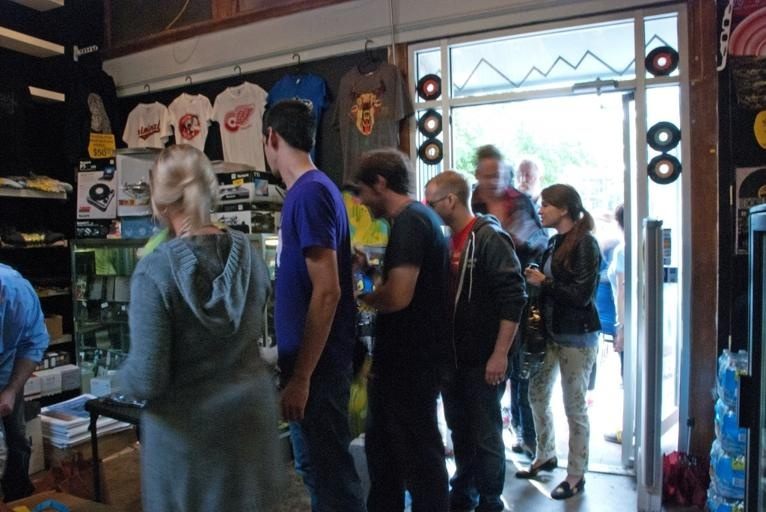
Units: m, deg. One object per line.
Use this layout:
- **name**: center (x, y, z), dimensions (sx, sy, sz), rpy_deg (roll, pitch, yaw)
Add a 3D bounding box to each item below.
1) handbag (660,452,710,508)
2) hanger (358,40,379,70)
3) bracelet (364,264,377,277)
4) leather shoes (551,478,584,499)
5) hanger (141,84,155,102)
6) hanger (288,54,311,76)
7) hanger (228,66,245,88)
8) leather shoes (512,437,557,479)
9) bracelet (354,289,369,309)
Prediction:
- **handbag**: center (2.252, 1.687, 4.977), dimensions (0.274, 0.167, 0.336), rpy_deg (4, 0, 12)
- **hanger**: center (-0.124, -1.815, 5.928), dimensions (0.268, 0.311, 0.043), rpy_deg (-3, -7, 43)
- **bracelet**: center (-0.070, 0.081, 3.774), dimensions (0.061, 0.060, 0.063), rpy_deg (4, -3, -8)
- **leather shoes**: center (1.374, 1.742, 4.912), dimensions (0.270, 0.085, 0.105), rpy_deg (-7, -2, -42)
- **hanger**: center (-2.483, -1.746, 6.983), dimensions (0.091, 0.112, 0.124), rpy_deg (-7, -42, -14)
- **hanger**: center (-0.776, -1.807, 6.206), dimensions (0.216, 0.244, 0.028), rpy_deg (0, 8, 35)
- **hanger**: center (-1.435, -1.778, 6.508), dimensions (0.220, 0.245, 0.009), rpy_deg (1, -4, 44)
- **leather shoes**: center (1.226, 1.589, 5.201), dimensions (0.445, 0.220, 0.150), rpy_deg (-17, 7, -23)
- **bracelet**: center (-0.118, 0.247, 3.808), dimensions (0.038, 0.110, 0.079), rpy_deg (-4, 11, 12)
